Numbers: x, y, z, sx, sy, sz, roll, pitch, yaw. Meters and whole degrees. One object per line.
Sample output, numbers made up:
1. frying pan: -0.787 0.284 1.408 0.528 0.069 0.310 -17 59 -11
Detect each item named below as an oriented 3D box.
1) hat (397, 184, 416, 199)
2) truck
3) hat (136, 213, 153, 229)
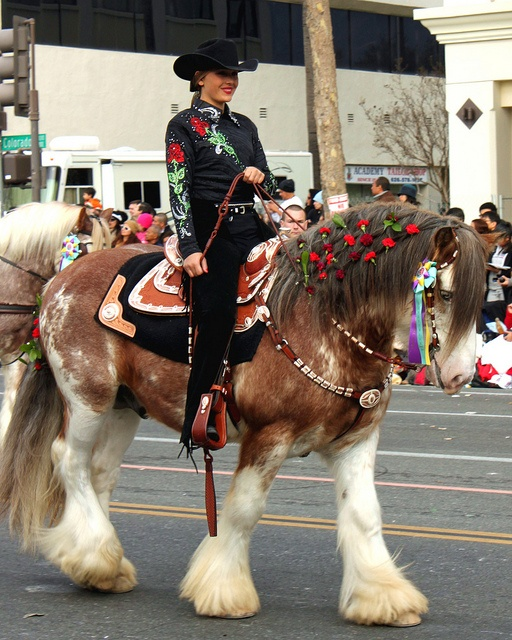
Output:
1. hat: 2.602 -2.146 12.219 0.400 0.170 0.250 11 17 -2
2. truck: -2.134 -3.747 20.985 10.136 2.814 3.056 1 3 -29
3. hat: -2.072 -1.839 13.485 0.262 0.283 0.311 9 24 -29
